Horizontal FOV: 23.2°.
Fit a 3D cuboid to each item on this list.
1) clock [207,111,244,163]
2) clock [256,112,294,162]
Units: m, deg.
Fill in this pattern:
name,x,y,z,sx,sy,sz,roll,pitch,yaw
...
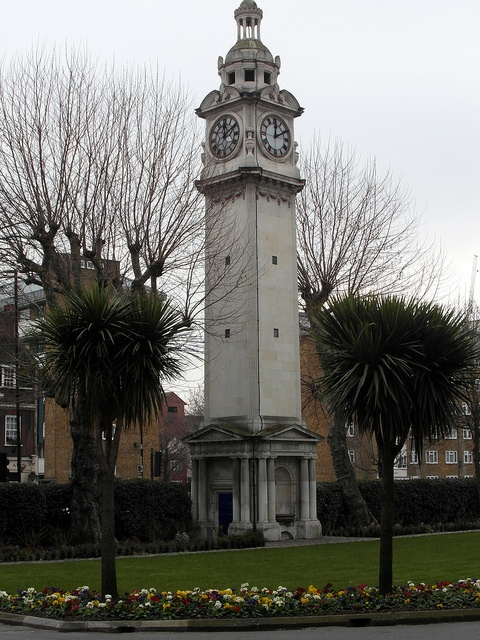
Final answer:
name,x,y,z,sx,sy,sz,roll,pitch,yaw
clock,-0.547,-7.360,47.321,0.114,2.030,1.619,12,-20,-29
clock,1.334,-7.382,47.418,0.256,2.817,2.262,-10,-14,29
